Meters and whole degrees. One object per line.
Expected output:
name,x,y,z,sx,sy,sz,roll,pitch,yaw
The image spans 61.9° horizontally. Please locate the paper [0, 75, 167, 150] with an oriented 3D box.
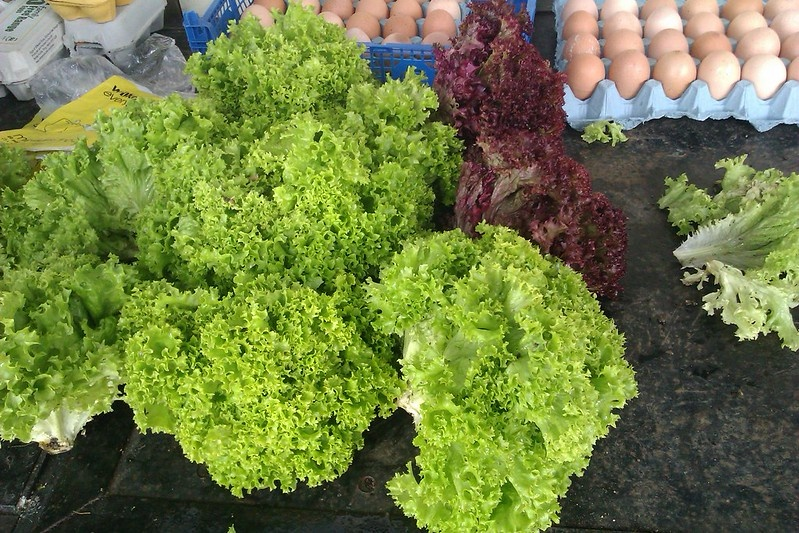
paper,-2.617,-1.179,5.307,0.883,0.217,0.967,30,52,29
